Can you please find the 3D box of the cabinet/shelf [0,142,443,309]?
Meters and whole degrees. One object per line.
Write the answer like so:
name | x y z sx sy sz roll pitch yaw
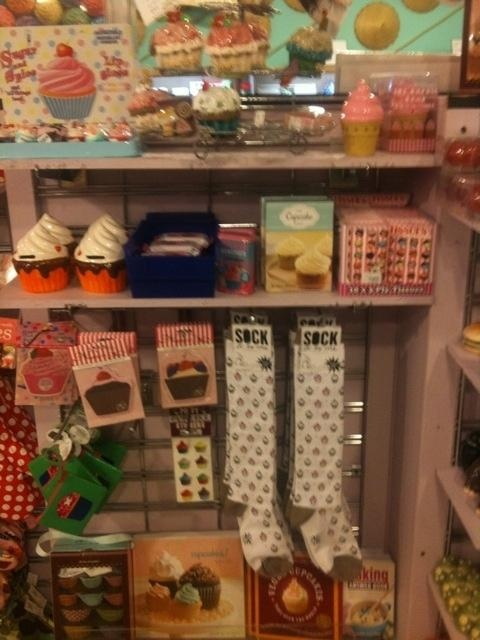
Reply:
cabinet/shelf | -0.119 -0.281 1.618 1.334 0.572 0.446 -4 26 3
